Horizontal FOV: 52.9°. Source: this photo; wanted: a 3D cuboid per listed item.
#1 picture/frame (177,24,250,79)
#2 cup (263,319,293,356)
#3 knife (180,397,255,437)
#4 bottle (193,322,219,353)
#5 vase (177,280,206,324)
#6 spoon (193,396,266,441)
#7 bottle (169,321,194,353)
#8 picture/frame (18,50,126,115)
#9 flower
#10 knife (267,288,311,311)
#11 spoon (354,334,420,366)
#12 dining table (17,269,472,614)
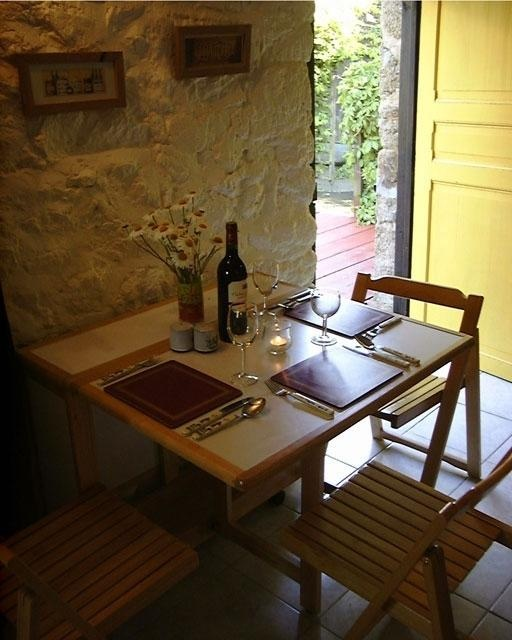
[{"bbox_3d":[-0.130,-0.888,1.695,0.072,0.176,0.340,12,23,37],"label":"picture/frame"},{"bbox_3d":[0.054,0.040,1.246,0.060,0.065,0.080,1,23,4],"label":"cup"},{"bbox_3d":[-0.064,0.173,1.035,0.044,0.019,0.256,18,23,26],"label":"knife"},{"bbox_3d":[-0.125,0.045,1.351,0.070,0.065,0.069,-5,17,-13],"label":"bottle"},{"bbox_3d":[-0.180,-0.052,1.455,0.083,0.131,0.083,5,9,27],"label":"vase"},{"bbox_3d":[-0.048,0.193,0.996,0.047,0.030,0.212,8,24,40],"label":"spoon"},{"bbox_3d":[-0.189,0.039,1.313,0.068,0.067,0.067,1,19,1],"label":"bottle"},{"bbox_3d":[-0.463,-0.617,1.325,0.047,0.163,0.336,9,21,30],"label":"picture/frame"},{"bbox_3d":[-0.247,-0.238,1.563,0.316,0.229,0.321,0,49,7],"label":"flower"},{"bbox_3d":[0.118,-0.065,1.634,0.052,0.010,0.203,15,23,23],"label":"knife"},{"bbox_3d":[0.327,0.064,1.264,0.048,0.014,0.181,-25,28,-21],"label":"spoon"},{"bbox_3d":[0.075,0.398,1.498,0.938,0.534,0.941,24,38,38],"label":"dining table"}]
